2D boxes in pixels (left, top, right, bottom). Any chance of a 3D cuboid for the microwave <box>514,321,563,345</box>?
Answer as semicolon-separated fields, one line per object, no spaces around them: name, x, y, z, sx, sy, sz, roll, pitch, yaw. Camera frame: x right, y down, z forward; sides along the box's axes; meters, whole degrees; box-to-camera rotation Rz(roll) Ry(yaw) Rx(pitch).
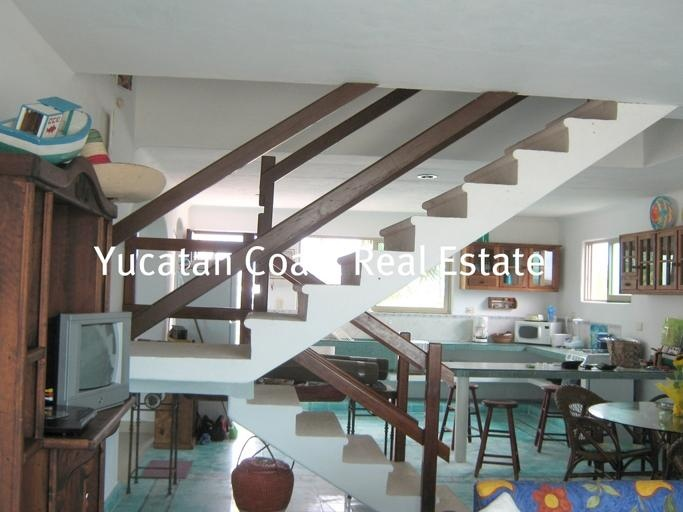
microwave;2.729;1.076;8.723;0.347;0.307;0.502;6;-7;-41

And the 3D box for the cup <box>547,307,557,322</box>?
cup;3.077;0.828;8.997;0.135;0.209;0.264;2;0;18

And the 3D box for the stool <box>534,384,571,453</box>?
stool;2.385;1.825;6.902;0.514;0.668;0.507;5;-6;-7

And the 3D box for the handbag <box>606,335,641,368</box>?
handbag;3.171;1.078;6.918;0.277;0.337;0.491;0;-4;4

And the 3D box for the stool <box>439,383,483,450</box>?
stool;1.446;1.852;7.282;0.565;0.700;0.554;1;5;-10

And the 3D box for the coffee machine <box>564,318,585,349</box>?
coffee machine;3.205;1.031;8.403;0.275;0.418;0.532;2;0;20

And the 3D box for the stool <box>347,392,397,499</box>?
stool;0.271;1.682;5.807;0.554;0.736;0.561;14;-18;-34

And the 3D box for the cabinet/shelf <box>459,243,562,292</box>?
cabinet/shelf;2.463;0.171;8.904;1.335;0.650;0.219;1;-6;8

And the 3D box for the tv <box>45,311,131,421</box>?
tv;-1.325;0.528;3.091;0.285;0.484;0.516;-1;-5;11

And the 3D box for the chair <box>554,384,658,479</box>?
chair;2.243;1.560;5.233;0.816;0.817;0.814;-2;-5;7

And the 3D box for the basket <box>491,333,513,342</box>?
basket;2.260;1.155;8.726;0.165;0.082;0.175;4;-6;-27
